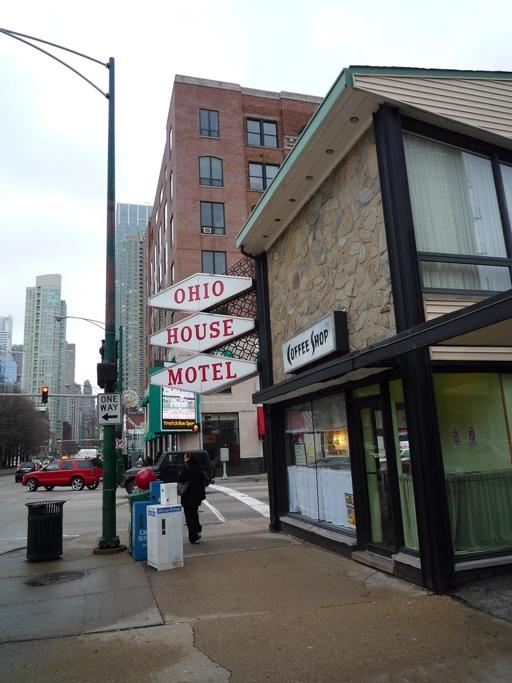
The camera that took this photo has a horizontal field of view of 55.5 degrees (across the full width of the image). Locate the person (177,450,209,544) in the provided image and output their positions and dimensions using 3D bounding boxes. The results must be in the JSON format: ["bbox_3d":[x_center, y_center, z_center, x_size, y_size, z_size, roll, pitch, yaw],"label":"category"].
[{"bbox_3d":[-1.298,3.140,9.808,0.526,1.718,0.985,-1,-12,-9],"label":"person"}]

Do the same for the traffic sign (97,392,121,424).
[{"bbox_3d":[-2.914,1.333,9.699,0.442,0.642,0.443,1,-13,-19],"label":"traffic sign"}]

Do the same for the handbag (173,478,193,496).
[{"bbox_3d":[-1.441,2.922,9.687,0.251,0.261,0.162,-11,-14,33],"label":"handbag"}]

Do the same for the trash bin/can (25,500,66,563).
[{"bbox_3d":[-3.659,3.308,8.542,0.655,0.939,0.581,7,-14,-35],"label":"trash bin/can"}]
